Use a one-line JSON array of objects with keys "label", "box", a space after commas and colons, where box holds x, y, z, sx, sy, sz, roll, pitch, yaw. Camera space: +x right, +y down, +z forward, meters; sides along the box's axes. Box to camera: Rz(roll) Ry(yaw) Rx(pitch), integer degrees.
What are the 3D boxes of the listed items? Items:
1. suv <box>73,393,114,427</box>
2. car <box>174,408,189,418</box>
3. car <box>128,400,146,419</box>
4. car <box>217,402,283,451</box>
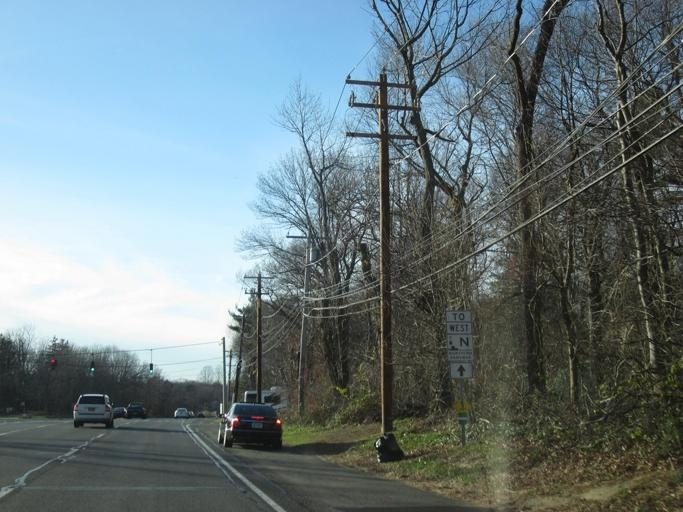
[{"label": "suv", "box": [-13.398, 8.455, 44.046, 1.195, 1.410, 2.592, 1, -4, -9]}, {"label": "car", "box": [-18.436, 18.202, 93.152, 1.004, 0.943, 2.601, 2, -6, -4]}, {"label": "car", "box": [-18.571, 14.141, 73.273, 1.333, 1.624, 3.488, 1, -4, -8]}, {"label": "car", "box": [-3.372, 6.310, 30.362, 2.109, 1.545, 0.934, -3, -17, 4]}]
